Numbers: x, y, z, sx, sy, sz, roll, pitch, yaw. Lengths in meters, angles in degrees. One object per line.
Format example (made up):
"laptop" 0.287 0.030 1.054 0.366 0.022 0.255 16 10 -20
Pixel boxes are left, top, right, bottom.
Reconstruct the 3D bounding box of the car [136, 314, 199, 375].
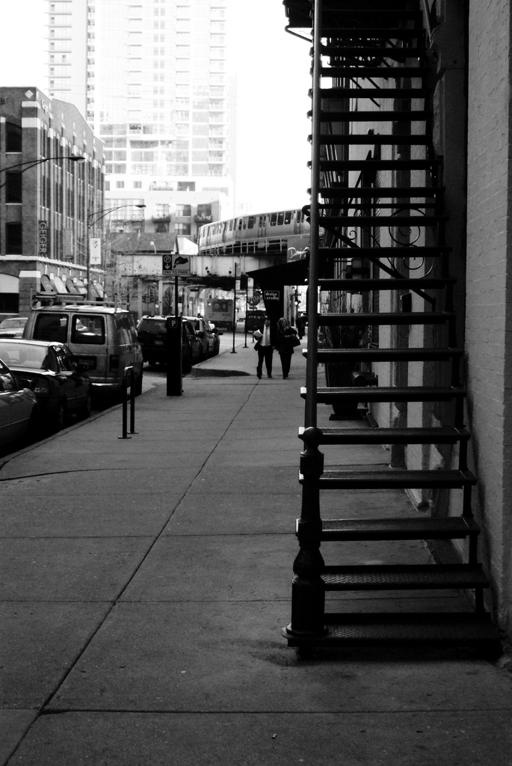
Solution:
"car" -2.516 -1.223 30.849 0.917 1.345 2.538 2 8 8

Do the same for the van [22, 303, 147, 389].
"van" -2.904 -0.752 19.069 1.223 1.793 2.866 1 8 5
